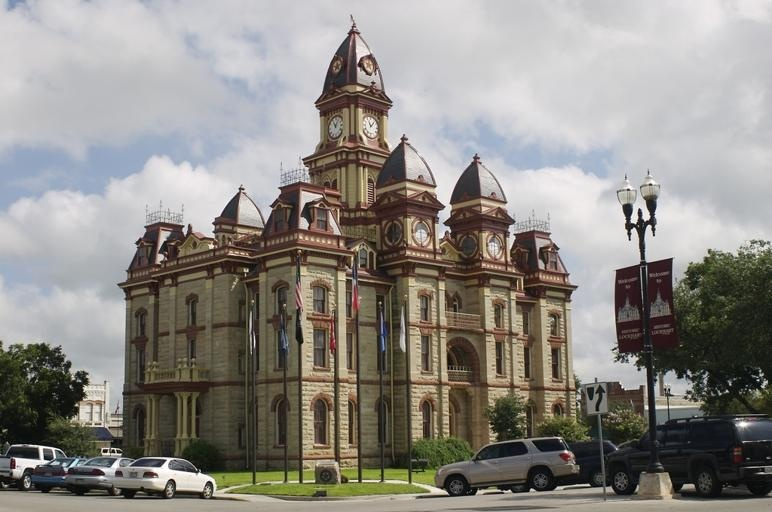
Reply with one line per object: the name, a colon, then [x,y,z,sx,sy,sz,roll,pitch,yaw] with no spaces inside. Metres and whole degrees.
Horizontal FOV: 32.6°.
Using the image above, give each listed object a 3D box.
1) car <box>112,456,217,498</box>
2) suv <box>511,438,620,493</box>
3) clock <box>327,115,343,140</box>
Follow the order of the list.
car: [-12.730,13.356,78.491,2.537,1.830,5.508,-5,-9,38]
suv: [12.242,12.639,80.253,6.120,2.601,2.914,1,-11,-2]
clock: [-4.363,-10.732,112.297,0.351,1.750,1.698,2,-3,-42]
